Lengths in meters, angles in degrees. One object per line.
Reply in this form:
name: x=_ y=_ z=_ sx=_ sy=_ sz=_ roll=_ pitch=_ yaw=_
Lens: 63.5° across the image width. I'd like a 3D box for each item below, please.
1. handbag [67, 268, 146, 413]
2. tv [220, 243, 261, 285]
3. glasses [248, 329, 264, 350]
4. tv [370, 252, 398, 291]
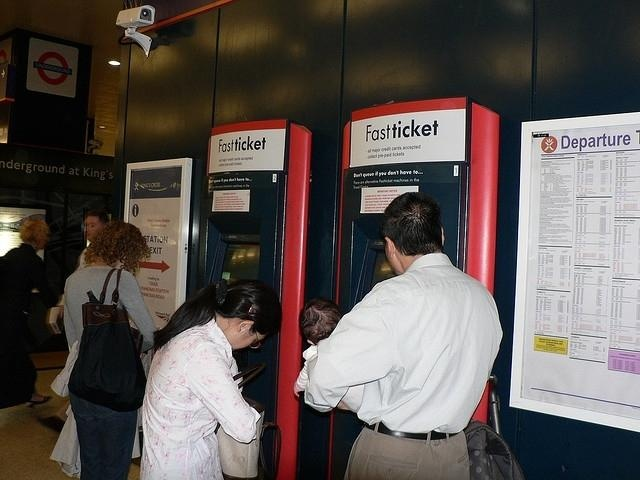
handbag: x=-1.230 y=0.564 z=3.029 sx=0.399 sy=0.925 sz=0.244 roll=27 pitch=-50 yaw=-37
tv: x=-0.531 y=0.138 z=3.552 sx=0.258 sy=0.084 sz=0.483 roll=2 pitch=31 yaw=-8
glasses: x=-0.278 y=0.440 z=2.294 sx=0.061 sy=0.084 sz=0.224 roll=1 pitch=1 yaw=-8
tv: x=0.374 y=0.208 z=3.034 sx=0.147 sy=0.287 sz=0.147 roll=-3 pitch=22 yaw=15
